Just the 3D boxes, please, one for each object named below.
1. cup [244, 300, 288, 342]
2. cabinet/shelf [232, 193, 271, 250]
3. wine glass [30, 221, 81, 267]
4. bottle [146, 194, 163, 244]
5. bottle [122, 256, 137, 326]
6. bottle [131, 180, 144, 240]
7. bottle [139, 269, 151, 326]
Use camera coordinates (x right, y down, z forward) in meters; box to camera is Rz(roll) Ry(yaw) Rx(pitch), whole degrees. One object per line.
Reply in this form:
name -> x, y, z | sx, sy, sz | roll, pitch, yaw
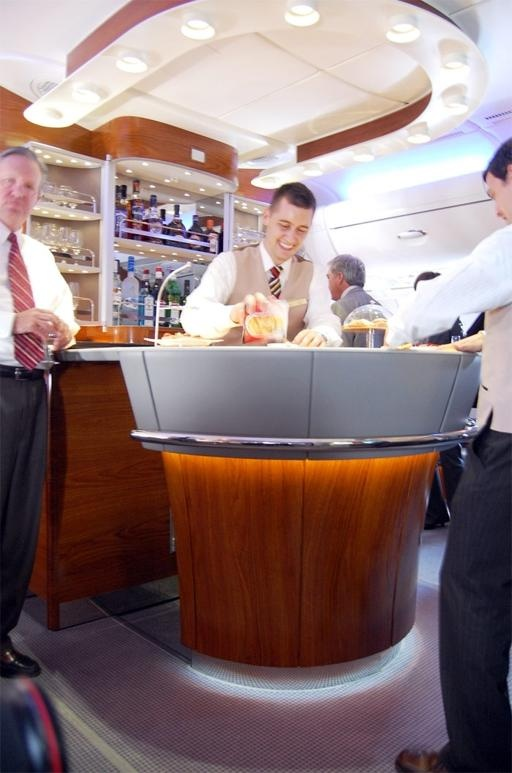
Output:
cup -> 0.026, -0.134, 1.137 | 0.075, 0.100, 0.036 | 3, -11, -3
cabinet/shelf -> -0.075, -1.396, 4.463 | 0.233, 0.408, 0.424 | -6, 17, -16
wine glass -> -1.265, -0.881, 3.373 | 0.296, 0.227, 0.271 | 8, 10, 44
bottle -> -0.718, -1.194, 3.782 | 0.101, 0.375, 0.214 | 0, -2, -9
bottle -> -0.868, -0.662, 3.690 | 0.118, 0.459, 0.143 | 0, -2, -14
bottle -> -0.827, -1.219, 3.723 | 0.084, 0.409, 0.208 | 0, -2, -12
bottle -> -0.756, -0.585, 3.672 | 0.086, 0.341, 0.172 | 0, -2, -13
